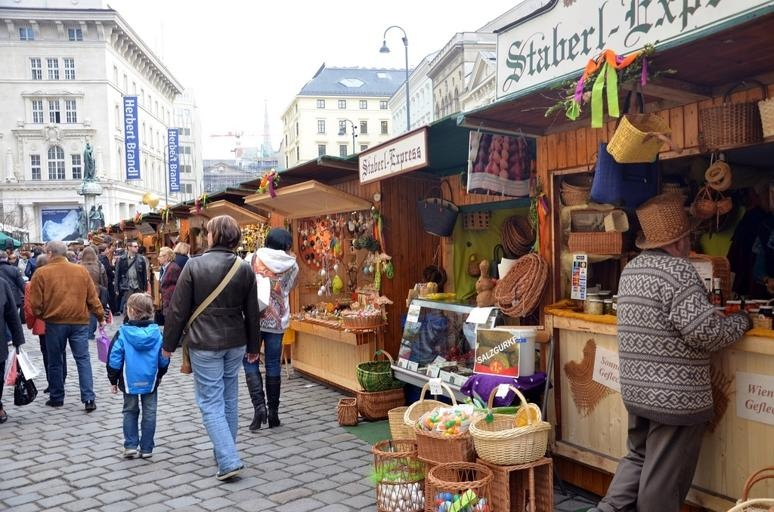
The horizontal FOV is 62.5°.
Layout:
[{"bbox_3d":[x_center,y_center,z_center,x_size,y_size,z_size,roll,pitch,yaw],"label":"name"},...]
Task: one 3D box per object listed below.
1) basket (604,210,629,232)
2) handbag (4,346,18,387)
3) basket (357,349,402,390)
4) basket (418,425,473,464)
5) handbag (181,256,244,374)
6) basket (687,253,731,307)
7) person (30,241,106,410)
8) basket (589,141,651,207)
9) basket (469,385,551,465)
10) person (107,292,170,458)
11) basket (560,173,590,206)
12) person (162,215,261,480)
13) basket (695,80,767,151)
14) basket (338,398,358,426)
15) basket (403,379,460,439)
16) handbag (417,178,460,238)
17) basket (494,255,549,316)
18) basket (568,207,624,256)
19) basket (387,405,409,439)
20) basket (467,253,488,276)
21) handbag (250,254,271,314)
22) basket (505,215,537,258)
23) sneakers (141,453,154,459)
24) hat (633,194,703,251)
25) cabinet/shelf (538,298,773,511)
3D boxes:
[{"bbox_3d":[2.472,-0.371,6.833,0.203,0.268,0.171,-4,10,-9],"label":"basket"},{"bbox_3d":[-4.962,1.452,8.373,0.183,0.523,0.506,3,-10,-30],"label":"handbag"},{"bbox_3d":[-0.103,1.549,8.597,0.618,0.516,0.510,3,-1,-42],"label":"basket"},{"bbox_3d":[0.542,1.766,5.987,0.409,0.211,0.319,-2,-6,13],"label":"basket"},{"bbox_3d":[-1.968,0.669,6.833,0.820,1.136,0.273,-4,10,-33],"label":"handbag"},{"bbox_3d":[3.026,0.244,5.965,0.455,0.474,0.270,1,3,-14],"label":"basket"},{"bbox_3d":[-4.499,0.952,8.979,0.881,2.395,0.787,0,6,-18],"label":"person"},{"bbox_3d":[2.217,-0.760,5.971,0.662,0.663,0.363,2,-1,-30],"label":"basket"},{"bbox_3d":[1.166,1.607,6.019,0.763,0.709,0.567,-3,2,-34],"label":"basket"},{"bbox_3d":[-2.849,1.384,7.282,0.697,1.847,0.431,-2,8,-8],"label":"person"},{"bbox_3d":[2.092,-0.734,7.086,0.321,0.261,0.358,-4,23,-3],"label":"basket"},{"bbox_3d":[-1.927,0.968,6.980,0.899,2.747,0.787,1,8,13],"label":"person"},{"bbox_3d":[3.022,-1.247,5.804,0.613,0.657,0.452,-3,5,-32],"label":"basket"},{"bbox_3d":[-0.501,2.018,8.270,0.269,0.289,0.276,-1,5,-4],"label":"basket"},{"bbox_3d":[0.420,1.575,6.603,0.455,0.577,0.625,3,2,33],"label":"basket"},{"bbox_3d":[0.773,-0.688,9.429,0.724,1.023,0.436,5,5,11],"label":"handbag"},{"bbox_3d":[1.480,0.368,7.135,0.385,0.787,0.613,-6,10,-31],"label":"basket"},{"bbox_3d":[2.291,-0.244,6.872,0.547,0.457,0.550,1,0,-36],"label":"basket"},{"bbox_3d":[0.146,1.800,6.836,0.232,0.243,0.309,1,-7,-15],"label":"basket"},{"bbox_3d":[1.237,0.115,9.126,0.311,0.344,0.204,4,-7,-15],"label":"basket"},{"bbox_3d":[-1.582,0.383,8.018,0.164,0.642,0.456,-2,13,-24],"label":"handbag"},{"bbox_3d":[1.828,-0.254,8.685,0.206,0.581,0.468,-7,10,-36],"label":"basket"},{"bbox_3d":[-2.774,2.283,7.336,0.050,0.065,0.143,15,9,36],"label":"sneakers"},{"bbox_3d":[2.527,-0.220,5.800,0.480,0.272,0.498,-38,13,-33],"label":"hat"},{"bbox_3d":[2.663,1.479,6.170,1.446,2.027,2.523,2,-5,-27],"label":"cabinet/shelf"}]
